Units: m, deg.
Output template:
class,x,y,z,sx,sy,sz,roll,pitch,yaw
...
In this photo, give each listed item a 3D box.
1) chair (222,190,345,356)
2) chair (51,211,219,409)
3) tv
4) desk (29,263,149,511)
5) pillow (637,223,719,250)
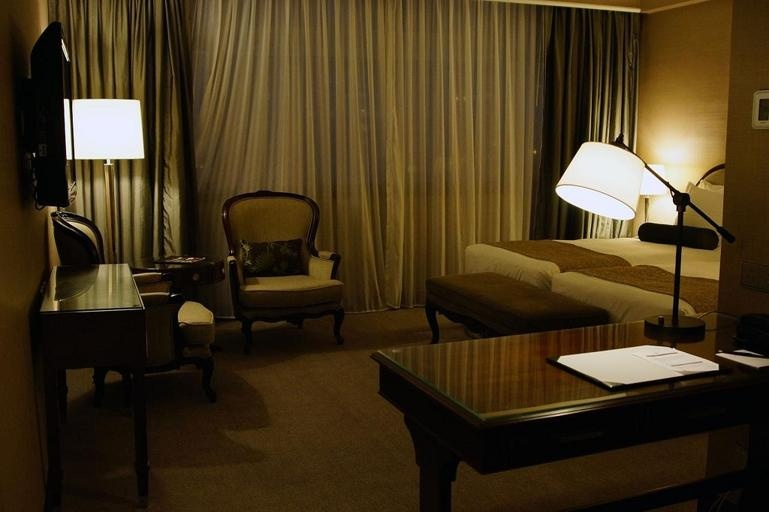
class,x,y,z,sx,sy,sz,roll,pitch,yaw
chair,-0.964,0.093,5.621,0.999,1.277,1.003,-3,13,-15
chair,-1.820,0.288,4.856,1.363,1.712,1.257,-3,7,-25
tv,-2.050,-0.815,3.647,0.280,1.088,0.595,-6,14,-25
desk,-1.681,0.753,3.411,0.351,0.629,1.241,-2,7,-17
pillow,2.590,-0.167,5.290,0.195,0.206,0.688,-2,8,-28
